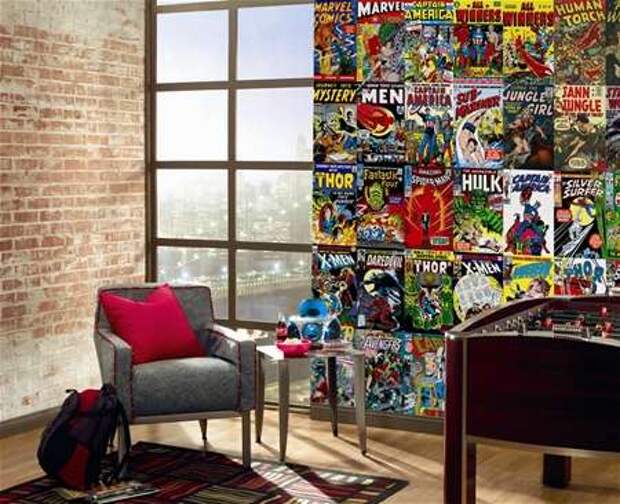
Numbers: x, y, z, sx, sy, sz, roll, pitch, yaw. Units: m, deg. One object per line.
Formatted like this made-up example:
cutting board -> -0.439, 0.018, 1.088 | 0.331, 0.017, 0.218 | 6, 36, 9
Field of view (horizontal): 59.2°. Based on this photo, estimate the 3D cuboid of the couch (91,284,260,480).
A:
couch -> -0.810, 0.647, 3.555 | 1.011, 1.358, 1.085 | 0, -2, -26

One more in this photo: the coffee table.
coffee table -> -0.064, 0.875, 3.675 | 0.801, 0.739, 0.643 | 1, -2, -24

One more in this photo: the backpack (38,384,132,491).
backpack -> -1.212, 0.950, 3.041 | 0.385, 0.507, 0.482 | -4, 9, -33

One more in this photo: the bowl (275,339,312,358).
bowl -> -0.100, 0.582, 3.366 | 0.218, 0.094, 0.162 | 0, 0, -21

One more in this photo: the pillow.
pillow -> -1.025, 0.378, 3.542 | 0.449, 0.500, 0.646 | 0, -1, 42

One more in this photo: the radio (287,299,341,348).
radio -> 0.018, 0.453, 3.638 | 0.475, 0.397, 0.227 | 2, -8, -8
